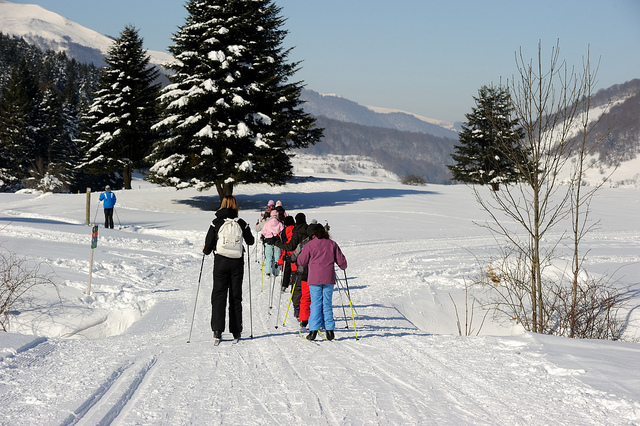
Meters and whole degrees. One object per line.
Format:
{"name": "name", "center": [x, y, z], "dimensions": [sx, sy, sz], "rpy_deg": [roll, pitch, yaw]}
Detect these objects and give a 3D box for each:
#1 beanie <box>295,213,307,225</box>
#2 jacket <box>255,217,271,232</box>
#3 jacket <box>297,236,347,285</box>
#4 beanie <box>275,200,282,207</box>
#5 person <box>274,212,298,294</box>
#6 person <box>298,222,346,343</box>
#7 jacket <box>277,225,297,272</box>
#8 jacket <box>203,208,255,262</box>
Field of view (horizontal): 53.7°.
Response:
{"name": "beanie", "center": [-0.616, 0.184, 20.726], "dimensions": [0.347, 0.384, 0.297], "rpy_deg": [4, -2, 16]}
{"name": "jacket", "center": [-2.282, 0.431, 24.209], "dimensions": [0.524, 0.296, 0.720], "rpy_deg": [6, -4, -31]}
{"name": "jacket", "center": [0.019, 1.466, 19.399], "dimensions": [1.422, 1.497, 0.357], "rpy_deg": [3, 3, -5]}
{"name": "beanie", "center": [-1.622, -0.328, 24.523], "dimensions": [0.284, 0.174, 0.424], "rpy_deg": [7, -43, -2]}
{"name": "person", "center": [-0.907, 1.359, 21.640], "dimensions": [0.885, 2.548, 0.795], "rpy_deg": [1, -4, 30]}
{"name": "person", "center": [0.024, 2.125, 19.355], "dimensions": [1.266, 3.543, 0.530], "rpy_deg": [3, 3, 1]}
{"name": "jacket", "center": [-1.304, 1.197, 21.821], "dimensions": [0.612, 1.406, 1.016], "rpy_deg": [9, 8, 41]}
{"name": "jacket", "center": [-2.702, 0.784, 18.568], "dimensions": [1.492, 1.528, 1.763], "rpy_deg": [-2, -19, 9]}
